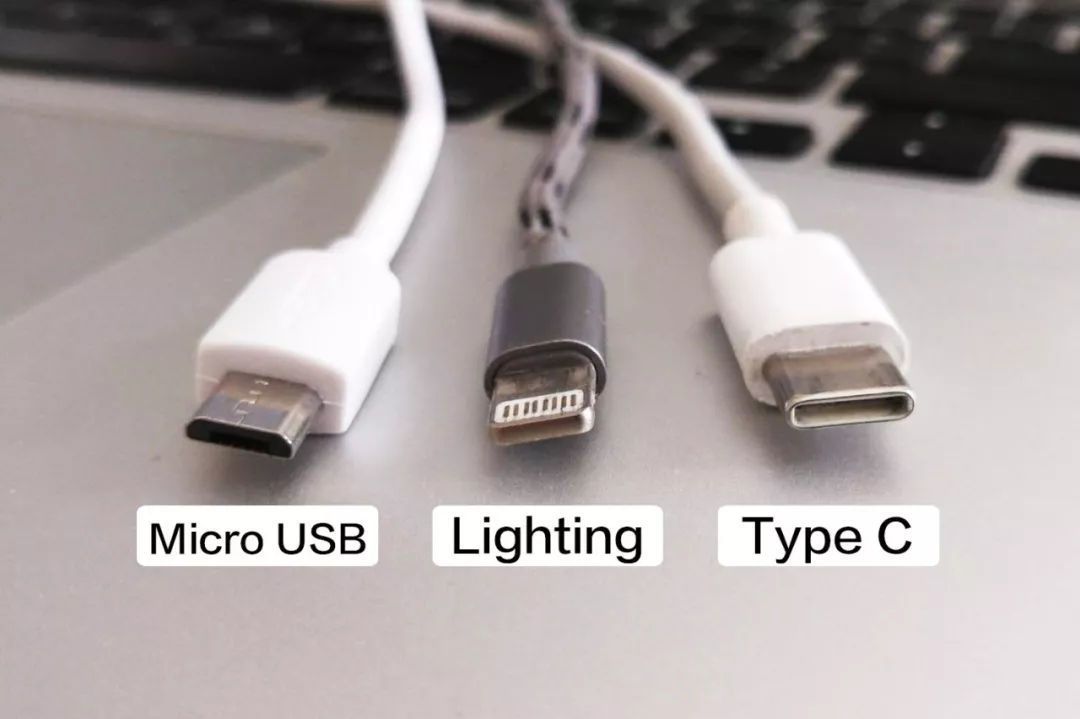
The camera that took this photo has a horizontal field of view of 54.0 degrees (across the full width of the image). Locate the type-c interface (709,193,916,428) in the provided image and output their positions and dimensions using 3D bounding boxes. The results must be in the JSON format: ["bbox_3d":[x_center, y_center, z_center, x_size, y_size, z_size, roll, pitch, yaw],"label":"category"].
[{"bbox_3d":[0.156,-0.016,0.605,0.092,0.049,0.129,-5,51,-9],"label":"type-c interface"}]

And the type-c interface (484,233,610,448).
[{"bbox_3d":[0.006,-0.023,0.618,0.067,0.035,0.171,-7,47,12],"label":"type-c interface"}]

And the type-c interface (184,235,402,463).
[{"bbox_3d":[-0.134,-0.020,0.632,0.088,0.066,0.204,11,40,8],"label":"type-c interface"}]
